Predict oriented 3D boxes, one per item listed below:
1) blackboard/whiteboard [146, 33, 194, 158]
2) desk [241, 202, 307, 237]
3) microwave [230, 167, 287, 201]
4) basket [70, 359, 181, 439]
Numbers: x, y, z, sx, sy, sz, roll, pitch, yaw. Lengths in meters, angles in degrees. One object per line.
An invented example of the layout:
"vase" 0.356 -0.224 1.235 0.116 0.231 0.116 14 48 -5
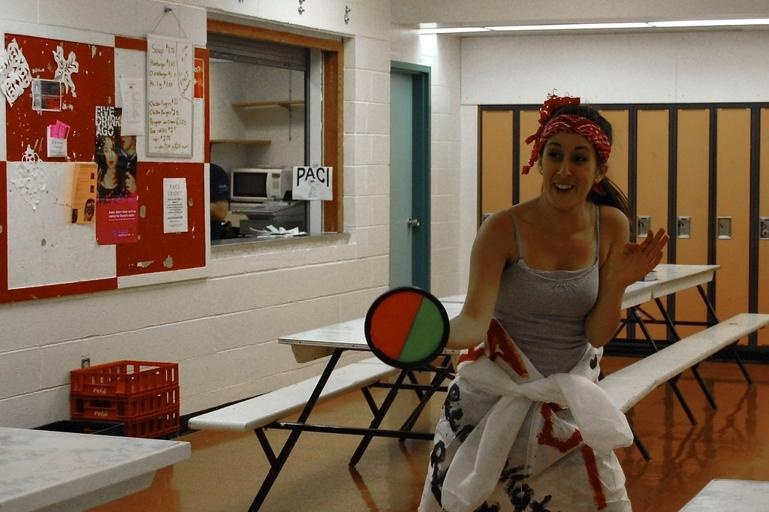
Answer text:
"blackboard/whiteboard" -1.645 -1.203 4.666 0.064 0.895 0.465 5 11 30
"desk" -1.168 -0.387 6.180 0.541 0.303 0.611 4 11 24
"microwave" -1.308 -0.792 6.893 0.755 0.387 0.503 4 5 30
"basket" -1.812 0.971 4.365 0.498 0.568 0.850 -1 -1 22
